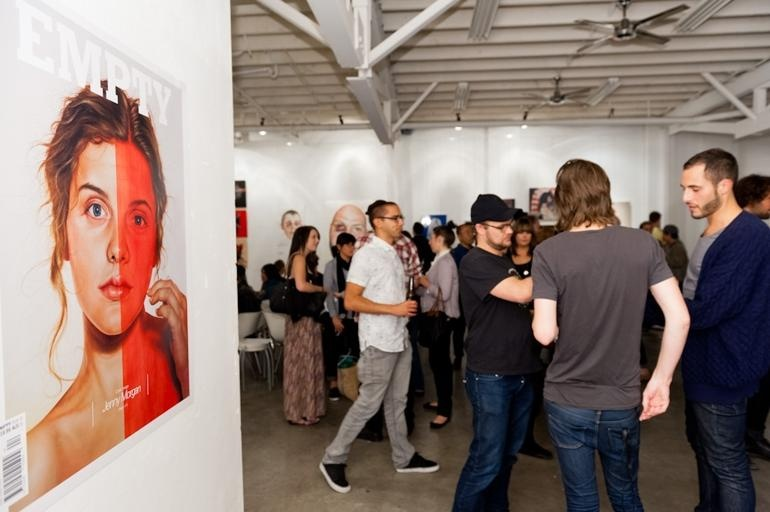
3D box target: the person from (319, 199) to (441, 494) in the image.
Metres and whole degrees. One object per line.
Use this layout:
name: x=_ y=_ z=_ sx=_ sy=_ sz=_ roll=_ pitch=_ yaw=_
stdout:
person: x=-0.025 y=0.591 z=4.051 sx=0.773 sy=1.915 sz=0.542 roll=-5 pitch=7 yaw=-37

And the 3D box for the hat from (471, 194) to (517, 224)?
hat: x=0.615 y=-0.268 z=3.360 sx=0.226 sy=0.140 sz=0.153 roll=-10 pitch=11 yaw=12

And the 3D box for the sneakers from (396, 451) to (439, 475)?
sneakers: x=0.233 y=1.489 z=4.273 sx=0.293 sy=0.136 sz=0.125 roll=-1 pitch=-9 yaw=-2

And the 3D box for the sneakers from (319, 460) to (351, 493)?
sneakers: x=-0.327 y=1.491 z=4.026 sx=0.103 sy=0.109 sz=0.279 roll=10 pitch=0 yaw=-34

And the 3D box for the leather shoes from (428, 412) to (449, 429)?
leather shoes: x=0.449 y=1.397 z=5.002 sx=0.074 sy=0.081 sz=0.209 roll=-8 pitch=-18 yaw=25

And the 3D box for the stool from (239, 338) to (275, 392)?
stool: x=-1.328 y=1.132 z=6.359 sx=0.453 sy=0.666 sz=0.525 roll=0 pitch=-4 yaw=-2

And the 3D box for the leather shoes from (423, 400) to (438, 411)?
leather shoes: x=0.416 y=1.380 z=5.467 sx=0.072 sy=0.037 sz=0.154 roll=-11 pitch=15 yaw=-37
